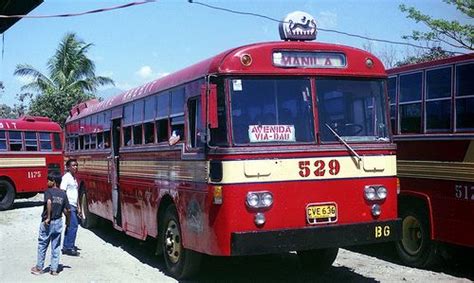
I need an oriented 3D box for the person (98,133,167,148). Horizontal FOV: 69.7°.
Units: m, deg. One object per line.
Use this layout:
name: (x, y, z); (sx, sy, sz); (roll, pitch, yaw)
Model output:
person: (-3.013, -0.031, 9.942); (0.387, 0.368, 3.098); (2, -1, 31)
